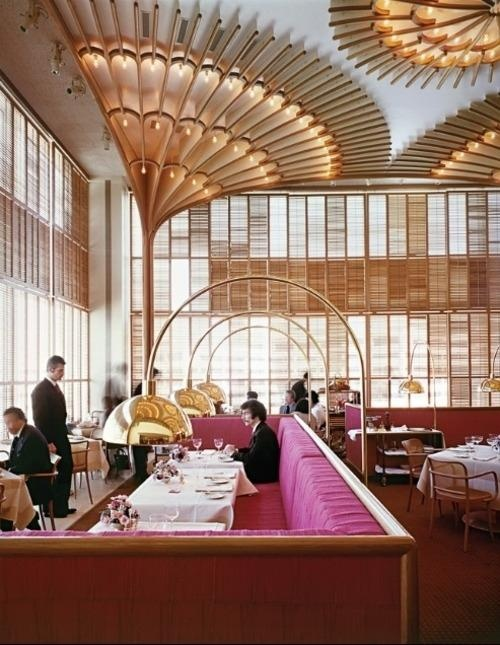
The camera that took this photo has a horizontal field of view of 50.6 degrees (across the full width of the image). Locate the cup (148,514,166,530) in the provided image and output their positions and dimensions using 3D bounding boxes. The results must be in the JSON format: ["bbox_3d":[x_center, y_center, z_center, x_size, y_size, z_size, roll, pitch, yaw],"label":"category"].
[{"bbox_3d":[-0.580,1.214,3.267,0.104,0.079,0.108,0,-6,0],"label":"cup"}]

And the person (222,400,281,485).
[{"bbox_3d":[0.056,1.668,6.697,0.720,1.340,0.631,0,-5,32],"label":"person"}]
